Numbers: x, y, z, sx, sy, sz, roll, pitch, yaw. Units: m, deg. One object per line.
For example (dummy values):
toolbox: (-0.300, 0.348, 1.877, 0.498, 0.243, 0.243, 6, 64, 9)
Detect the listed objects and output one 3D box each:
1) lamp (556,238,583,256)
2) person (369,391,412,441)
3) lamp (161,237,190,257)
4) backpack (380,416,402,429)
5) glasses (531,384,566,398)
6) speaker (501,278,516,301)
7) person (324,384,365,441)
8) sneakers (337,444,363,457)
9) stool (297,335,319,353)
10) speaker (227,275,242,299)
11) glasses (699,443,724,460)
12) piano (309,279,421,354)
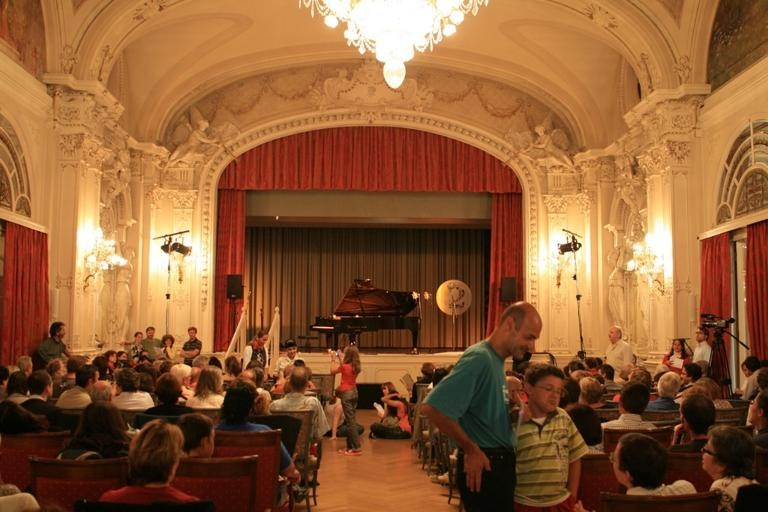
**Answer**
lamp: (4.490, -0.216, 15.756, 0.412, 0.281, 0.453, -10, 0, -26)
person: (0.077, 2.935, 12.439, 0.831, 1.048, 0.848, 9, -7, -30)
lamp: (-4.954, -0.248, 15.801, 0.616, 0.428, 0.835, 4, -9, -13)
backpack: (0.142, 3.075, 12.162, 0.332, 0.166, 0.452, 2, -9, -1)
glasses: (1.253, 1.038, 5.053, 0.194, 0.058, 0.192, 6, -8, -16)
speaker: (3.168, 0.849, 16.633, 0.404, 0.621, 0.273, 1, -8, 4)
person: (-0.730, 2.789, 11.881, 0.627, 0.849, 0.652, 10, 20, 32)
sneakers: (-0.533, 3.151, 10.622, 0.466, 0.202, 0.145, 2, -13, 15)
stool: (-2.256, 2.668, 19.829, 0.737, 0.519, 0.391, 4, -8, -30)
speaker: (-3.637, 0.775, 16.110, 0.493, 0.579, 0.384, 2, -8, -17)
glasses: (2.603, 1.558, 5.211, 0.206, 0.060, 0.194, 24, -5, -38)
piano: (-0.145, 1.674, 17.136, 2.269, 1.640, 1.486, 2, -7, -2)
